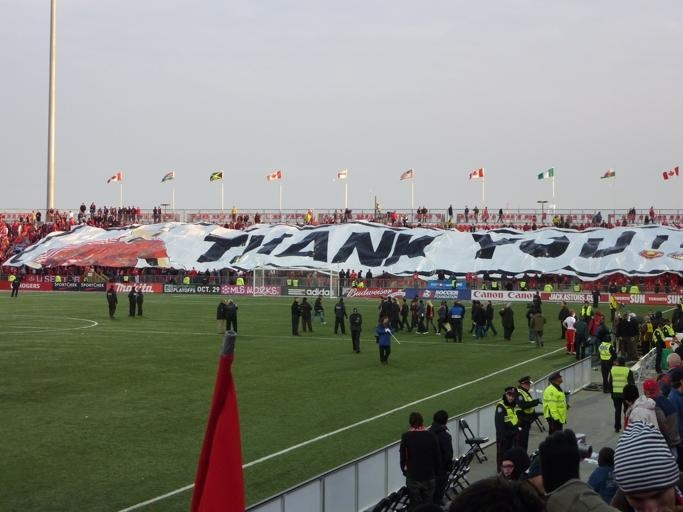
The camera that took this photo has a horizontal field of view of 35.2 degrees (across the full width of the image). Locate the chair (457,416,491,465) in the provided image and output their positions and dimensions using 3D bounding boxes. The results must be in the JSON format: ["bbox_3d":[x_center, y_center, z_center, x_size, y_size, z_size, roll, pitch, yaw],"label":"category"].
[{"bbox_3d":[4.120,5.734,33.669,0.946,1.201,0.728,2,0,29],"label":"chair"}]

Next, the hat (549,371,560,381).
[{"bbox_3d":[6.859,3.880,34.604,0.385,0.326,0.776,-1,0,10],"label":"hat"}]
